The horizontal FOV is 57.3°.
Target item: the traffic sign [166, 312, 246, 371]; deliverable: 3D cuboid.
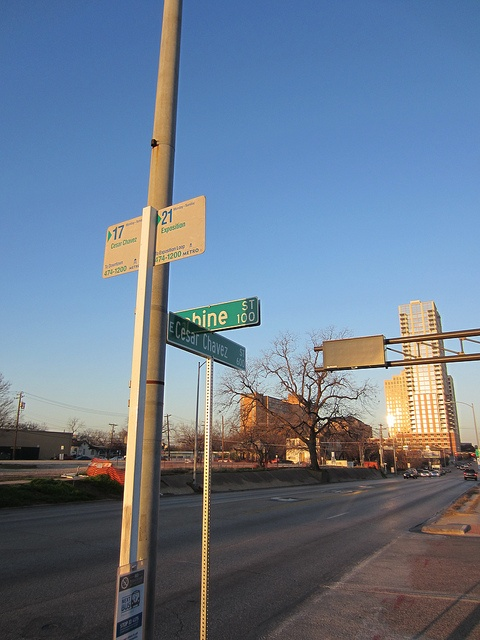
[{"bbox_3d":[-0.260,0.215,3.872,0.259,0.384,1.157,-6,-14,21],"label":"traffic sign"}]
